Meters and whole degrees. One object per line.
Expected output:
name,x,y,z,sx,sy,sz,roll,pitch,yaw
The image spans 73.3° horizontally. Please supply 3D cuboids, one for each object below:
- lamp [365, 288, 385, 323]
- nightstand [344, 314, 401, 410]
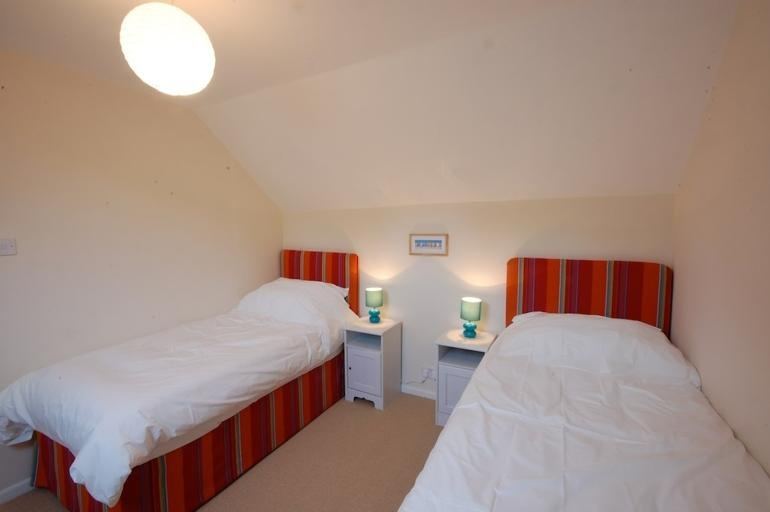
lamp,-0.102,0.483,5.021,0.177,0.319,0.182,-3,4,-38
nightstand,-0.082,1.035,4.984,0.603,0.732,0.609,2,2,6
